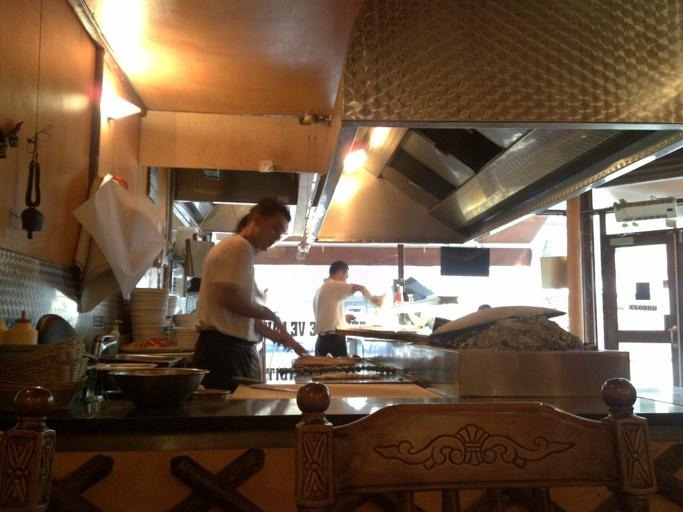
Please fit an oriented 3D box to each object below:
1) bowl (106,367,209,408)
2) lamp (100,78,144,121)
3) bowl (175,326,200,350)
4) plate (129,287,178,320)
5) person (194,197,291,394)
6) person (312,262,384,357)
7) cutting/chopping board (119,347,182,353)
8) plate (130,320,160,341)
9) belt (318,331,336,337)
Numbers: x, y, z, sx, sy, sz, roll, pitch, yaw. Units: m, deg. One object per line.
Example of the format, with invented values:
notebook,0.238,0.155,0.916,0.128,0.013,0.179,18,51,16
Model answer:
bowl,-0.700,0.484,2.158,0.347,0.107,0.343,1,-8,0
lamp,-1.337,-0.945,3.536,0.059,0.212,0.243,-1,-2,23
bowl,-1.059,0.566,4.040,0.200,0.147,0.202,-1,-19,0
plate,-1.321,0.331,4.099,0.256,0.180,0.236,-3,-6,27
person,-0.524,0.176,3.241,0.496,1.100,0.524,5,-10,-24
person,0.024,0.496,5.793,0.640,0.951,0.494,1,-9,0
cutting/chopping board,-1.143,0.582,3.631,0.158,0.032,0.402,-6,-12,40
plate,-1.361,0.514,4.062,0.161,0.116,0.147,1,-6,-4
belt,-0.143,0.753,5.716,0.177,0.046,0.042,-4,-10,30
